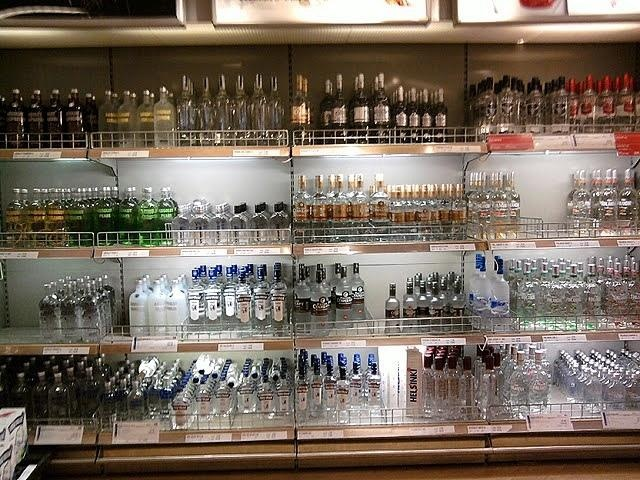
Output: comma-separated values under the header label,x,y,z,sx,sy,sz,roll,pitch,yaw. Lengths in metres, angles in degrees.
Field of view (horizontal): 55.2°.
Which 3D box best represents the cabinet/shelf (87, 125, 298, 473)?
label,x,y,z,sx,sy,sz,roll,pitch,yaw
cabinet/shelf,-0.867,0.505,5.336,1.626,2.434,0.773,1,-3,-1
